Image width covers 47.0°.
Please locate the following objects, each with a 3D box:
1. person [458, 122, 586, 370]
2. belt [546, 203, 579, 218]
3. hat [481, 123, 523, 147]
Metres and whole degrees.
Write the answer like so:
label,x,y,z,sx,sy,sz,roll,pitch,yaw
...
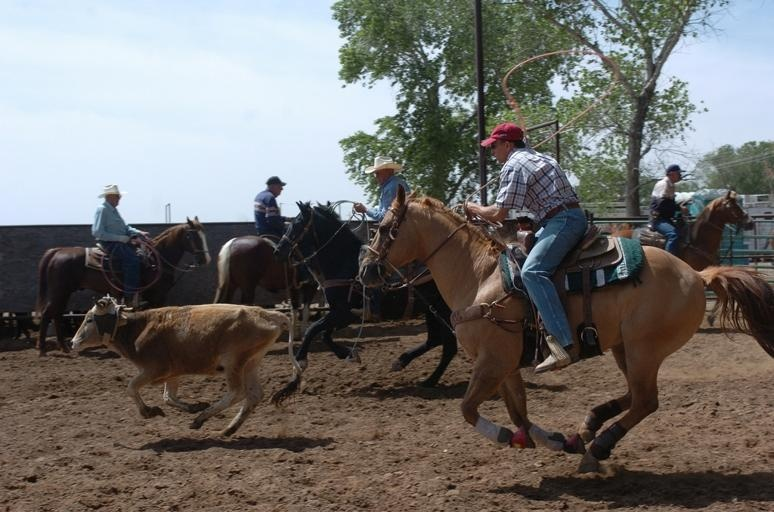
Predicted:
label,x,y,z,sx,sy,sz,roll,pitch,yaw
person,1.834,-0.134,11.139,1.183,3.162,0.708,2,3,34
belt,2.184,-0.592,11.068,0.285,0.050,0.242,-14,-4,-7
hat,1.466,-1.558,11.427,0.501,0.182,0.269,-8,7,10
